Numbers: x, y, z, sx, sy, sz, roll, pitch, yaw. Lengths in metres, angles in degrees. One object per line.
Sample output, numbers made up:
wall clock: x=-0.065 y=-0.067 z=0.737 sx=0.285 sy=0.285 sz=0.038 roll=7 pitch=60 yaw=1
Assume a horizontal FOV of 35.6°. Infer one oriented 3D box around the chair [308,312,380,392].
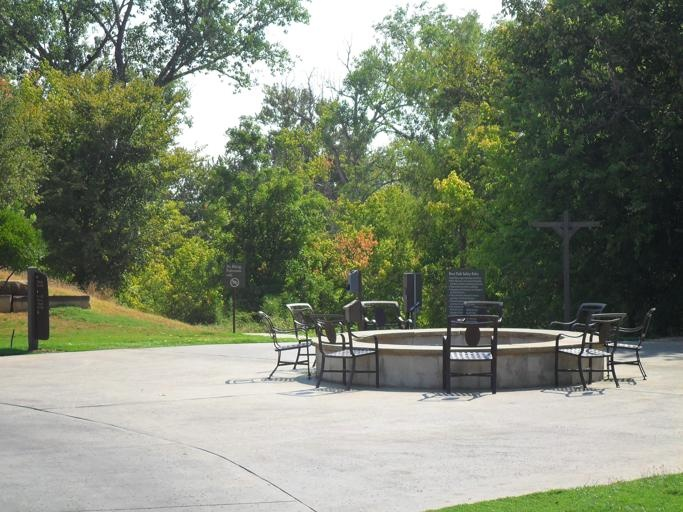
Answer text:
chair: x=0.132 y=2.257 z=25.440 sx=1.310 sy=1.868 sz=1.503 roll=-2 pitch=-1 yaw=21
